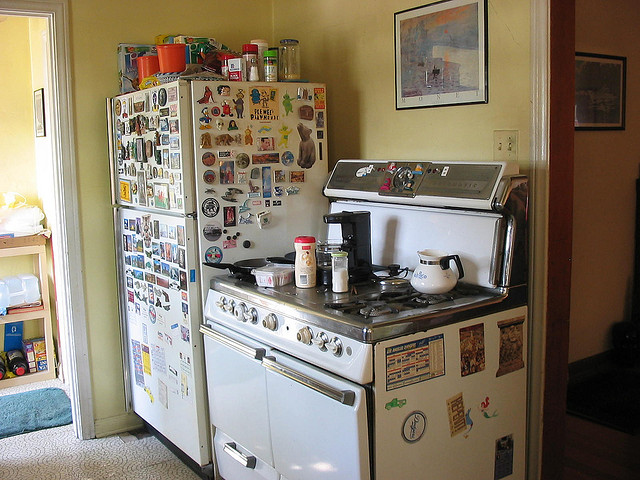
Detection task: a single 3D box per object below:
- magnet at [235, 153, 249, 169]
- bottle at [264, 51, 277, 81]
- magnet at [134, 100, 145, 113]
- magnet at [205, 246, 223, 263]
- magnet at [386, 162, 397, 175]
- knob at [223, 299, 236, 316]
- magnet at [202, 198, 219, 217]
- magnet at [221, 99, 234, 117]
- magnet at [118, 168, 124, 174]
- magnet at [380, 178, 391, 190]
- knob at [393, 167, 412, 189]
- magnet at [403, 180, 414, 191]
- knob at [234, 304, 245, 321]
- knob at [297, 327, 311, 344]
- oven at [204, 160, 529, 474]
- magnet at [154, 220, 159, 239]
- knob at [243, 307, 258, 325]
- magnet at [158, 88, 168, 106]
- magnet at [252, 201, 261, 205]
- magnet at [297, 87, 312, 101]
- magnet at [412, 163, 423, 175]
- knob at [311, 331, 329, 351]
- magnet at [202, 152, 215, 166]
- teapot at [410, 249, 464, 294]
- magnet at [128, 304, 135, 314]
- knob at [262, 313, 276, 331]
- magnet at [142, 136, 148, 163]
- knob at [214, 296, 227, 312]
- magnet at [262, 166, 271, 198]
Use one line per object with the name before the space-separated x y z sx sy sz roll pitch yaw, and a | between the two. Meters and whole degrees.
magnet | -0.400 -0.412 2.512 0.070 0.071 0.017 7 -2 -37
bottle | -0.265 -0.928 2.602 0.072 0.154 0.060 -4 11 -5
magnet | -1.005 -0.739 2.725 0.069 0.064 0.018 1 -6 31
magnet | -0.548 0.075 2.503 0.079 0.079 0.019 -3 9 -32
magnet | 0.354 -0.359 2.418 0.039 0.056 0.022 1 -13 42
knob | -0.430 0.313 2.315 0.053 0.072 0.025 10 16 37
magnet | -0.551 -0.161 2.451 0.082 0.083 0.021 -1 7 -30
magnet | -0.469 -0.663 2.448 0.059 0.085 0.011 -12 14 -37
magnet | -1.230 -0.425 3.011 0.038 0.036 0.009 3 2 35
magnet | 0.326 -0.276 2.409 0.015 0.056 0.038 10 -2 -42
knob | 0.402 -0.306 2.364 0.032 0.098 0.072 20 -6 -43
magnet | 0.421 -0.258 2.305 0.028 0.045 0.051 -13 15 -40
knob | -0.378 0.334 2.267 0.020 0.077 0.083 -10 14 -34
knob | -0.073 0.374 1.916 0.018 0.055 0.055 -3 44 -42
oven | 0.204 0.409 2.276 0.988 1.492 1.236 -13 16 -43
magnet | -0.906 -0.062 2.693 0.015 0.140 0.081 -6 13 -34
knob | -0.315 0.337 2.201 0.024 0.075 0.092 -13 15 -41
magnet | -0.810 -0.732 2.501 0.079 0.079 0.019 30 24 33
magnet | -0.339 -0.198 2.575 0.040 0.022 0.010 -2 -4 -16
magnet | -0.082 -0.786 2.653 0.074 0.075 0.055 -12 21 -35
magnet | 0.464 -0.336 2.304 0.051 0.051 0.027 10 14 43
knob | 0.001 0.383 1.855 0.025 0.057 0.066 -6 6 -42
magnet | -0.555 -0.407 2.424 0.059 0.059 0.014 -4 9 -33
teapot | 0.488 0.109 2.103 0.230 0.182 0.192 6 9 44
magnet | -1.187 0.427 3.066 0.033 0.064 0.064 -13 12 -37
knob | -0.218 0.351 2.090 0.076 0.075 0.031 9 16 44
magnet | -0.982 -0.482 2.722 0.020 0.088 0.065 3 1 -14
knob | -0.475 0.309 2.361 0.056 0.073 0.024 16 -32 -6
magnet | -0.284 -0.309 2.594 0.056 0.164 0.010 -12 14 -38
